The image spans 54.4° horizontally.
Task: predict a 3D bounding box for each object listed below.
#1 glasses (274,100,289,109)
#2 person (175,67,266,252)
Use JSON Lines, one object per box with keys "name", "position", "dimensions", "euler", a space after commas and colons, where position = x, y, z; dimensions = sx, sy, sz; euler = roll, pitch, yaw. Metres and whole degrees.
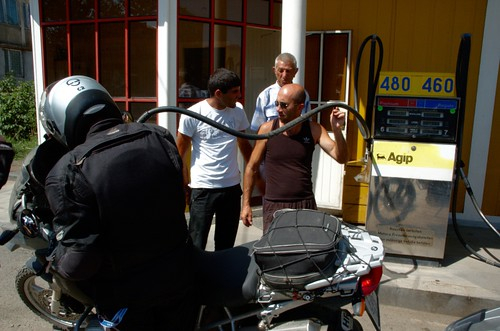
{"name": "glasses", "position": [0.347, -0.650, 5.231], "dimensions": [0.147, 0.076, 0.041], "euler": [13, 18, 35]}
{"name": "person", "position": [-0.366, 0.177, 5.949], "dimensions": [0.920, 2.785, 0.694], "euler": [0, 23, -7]}
